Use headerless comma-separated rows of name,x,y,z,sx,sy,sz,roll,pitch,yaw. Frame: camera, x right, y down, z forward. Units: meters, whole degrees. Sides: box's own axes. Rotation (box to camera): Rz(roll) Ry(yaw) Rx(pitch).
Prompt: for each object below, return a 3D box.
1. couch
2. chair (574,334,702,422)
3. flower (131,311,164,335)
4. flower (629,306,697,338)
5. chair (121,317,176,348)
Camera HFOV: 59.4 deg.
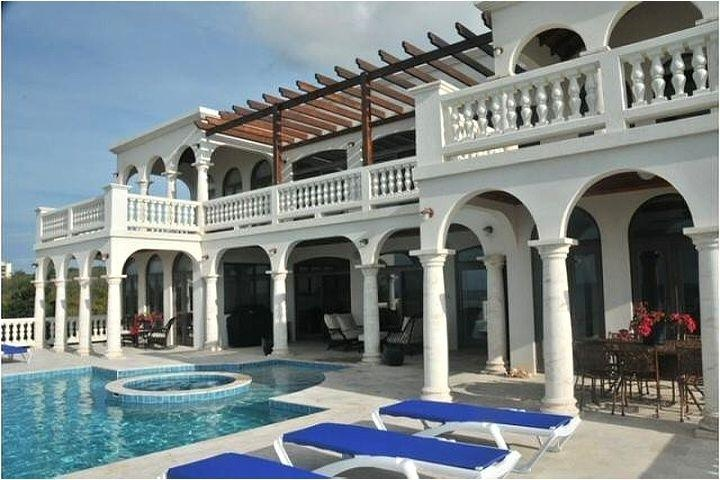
couch,0.333,3.027,20.387,2.556,0.999,1.578,-4,-6,33
chair,5.660,2.820,12.980,2.360,1.590,2.725,-4,-10,17
flower,-8.129,3.118,23.861,0.970,0.410,0.987,3,3,38
flower,6.273,1.698,13.118,1.169,0.535,1.177,-4,-7,40
chair,-8.026,3.498,23.717,3.286,1.112,1.144,-9,-13,39
